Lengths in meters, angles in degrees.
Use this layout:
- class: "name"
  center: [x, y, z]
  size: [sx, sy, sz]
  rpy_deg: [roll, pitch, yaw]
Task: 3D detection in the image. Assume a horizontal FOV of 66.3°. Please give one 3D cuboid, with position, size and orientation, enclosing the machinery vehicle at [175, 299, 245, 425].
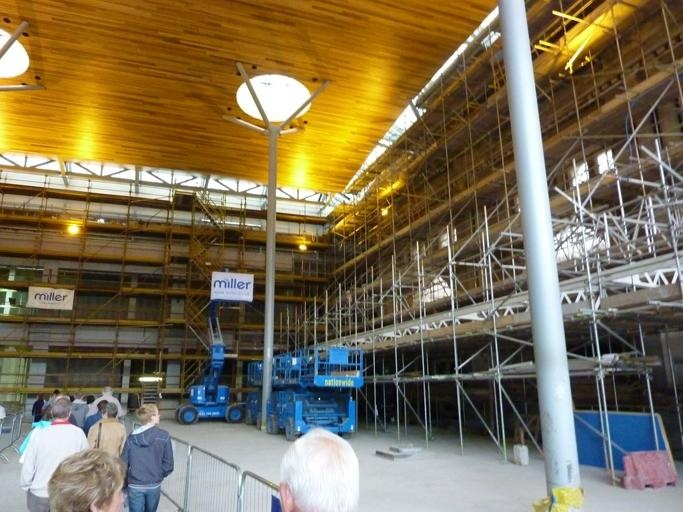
- class: "machinery vehicle"
  center: [-7.233, 5.931, 29.114]
  size: [3.099, 6.443, 3.740]
  rpy_deg: [2, -11, -9]
